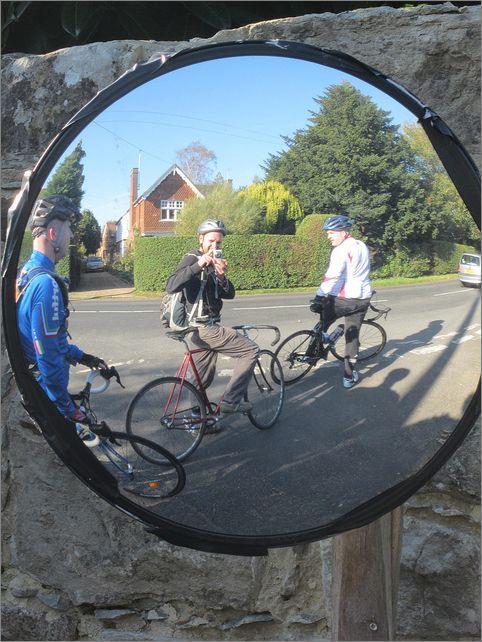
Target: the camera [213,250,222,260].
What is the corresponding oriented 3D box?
[{"bbox_3d":[-0.048,-0.137,1.267,0.021,0.018,0.008,0,-4,4],"label":"camera"}]
